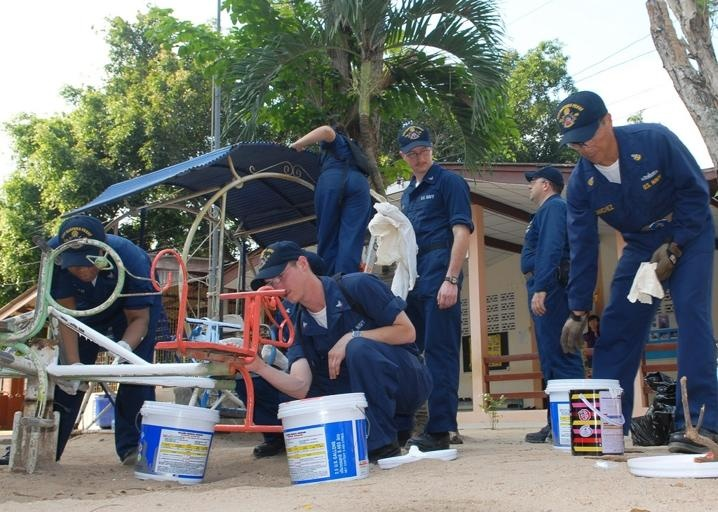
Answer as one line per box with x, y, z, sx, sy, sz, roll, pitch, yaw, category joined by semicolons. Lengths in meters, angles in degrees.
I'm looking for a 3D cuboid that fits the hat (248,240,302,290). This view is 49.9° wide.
-0.611;0.009;5.623;0.447;0.206;0.275;-26;18;-28;hat

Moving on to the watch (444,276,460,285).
0.746;0.206;6.156;0.102;0.054;0.095;12;-11;-28;watch

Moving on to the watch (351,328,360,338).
-0.023;0.564;5.644;0.065;0.076;0.097;1;-15;-5;watch

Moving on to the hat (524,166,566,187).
1.818;-0.759;7.398;0.381;0.195;0.230;9;0;12;hat

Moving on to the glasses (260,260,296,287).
-0.569;0.155;5.560;0.238;0.071;0.145;-41;14;-33;glasses

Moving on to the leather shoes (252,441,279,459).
-0.788;1.634;6.534;0.230;0.088;0.110;5;-4;-6;leather shoes

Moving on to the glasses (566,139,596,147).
1.671;-0.838;5.778;0.090;0.040;0.148;-6;12;44;glasses

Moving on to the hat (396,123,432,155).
0.515;-1.002;6.716;0.227;0.285;0.300;-20;-16;-7;hat

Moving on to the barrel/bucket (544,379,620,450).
1.759;1.193;5.897;0.604;0.461;0.581;0;-9;0;barrel/bucket

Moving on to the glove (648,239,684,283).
2.274;0.046;5.731;0.120;0.274;0.211;20;8;-34;glove

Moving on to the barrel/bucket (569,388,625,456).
1.763;1.253;5.878;0.485;0.433;0.497;-1;-8;0;barrel/bucket

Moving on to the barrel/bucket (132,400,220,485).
-1.321;1.341;5.726;0.624;0.511;0.603;9;-12;2;barrel/bucket

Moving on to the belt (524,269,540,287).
1.680;0.229;7.367;0.137;0.193;0.161;3;-14;-1;belt

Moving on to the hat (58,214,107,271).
-2.292;-0.158;6.262;0.418;0.303;0.537;-3;33;-2;hat

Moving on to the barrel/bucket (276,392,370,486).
-0.190;1.245;5.398;0.668;0.514;0.646;-8;-16;-2;barrel/bucket

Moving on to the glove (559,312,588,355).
1.763;0.640;6.224;0.211;0.325;0.118;-4;-25;30;glove

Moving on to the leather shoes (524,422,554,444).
1.648;1.624;7.034;0.327;0.190;0.104;1;-9;0;leather shoes

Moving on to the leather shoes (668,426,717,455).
2.386;1.293;5.401;0.401;0.136;0.136;5;-25;-2;leather shoes

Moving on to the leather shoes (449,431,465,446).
0.922;1.700;7.225;0.253;0.090;0.318;0;-11;3;leather shoes
